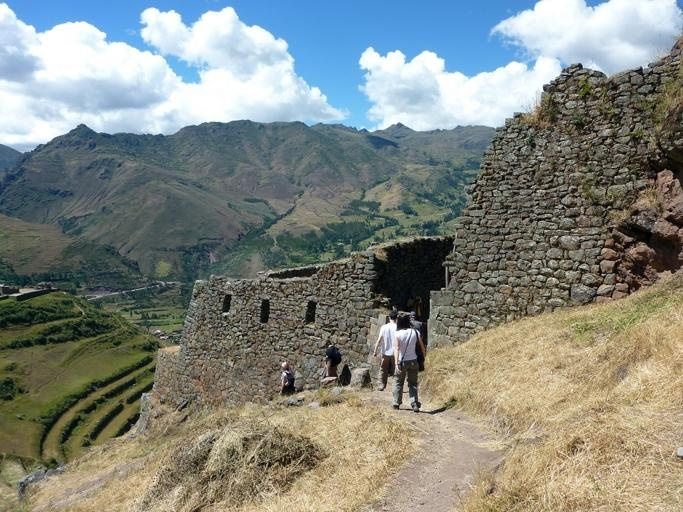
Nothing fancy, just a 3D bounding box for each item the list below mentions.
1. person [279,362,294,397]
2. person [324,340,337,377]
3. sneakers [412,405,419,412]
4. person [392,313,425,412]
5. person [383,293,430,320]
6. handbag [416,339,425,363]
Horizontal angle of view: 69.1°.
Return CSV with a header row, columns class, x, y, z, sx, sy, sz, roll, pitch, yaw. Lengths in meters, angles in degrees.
class,x,y,z,sx,sy,sz,roll,pitch,yaw
person,-1.875,4.353,17.786,0.548,1.094,1.055,5,-11,-3
person,-0.295,3.557,16.836,0.450,1.021,0.525,5,-12,0
sneakers,1.745,3.509,11.451,0.148,0.155,0.165,-9,-21,30
person,1.578,2.440,11.555,0.694,2.241,0.857,3,-12,8
person,2.959,1.984,19.760,1.865,0.484,1.369,1,0,42
handbag,1.803,2.183,11.366,0.248,0.552,0.071,14,-15,-38
